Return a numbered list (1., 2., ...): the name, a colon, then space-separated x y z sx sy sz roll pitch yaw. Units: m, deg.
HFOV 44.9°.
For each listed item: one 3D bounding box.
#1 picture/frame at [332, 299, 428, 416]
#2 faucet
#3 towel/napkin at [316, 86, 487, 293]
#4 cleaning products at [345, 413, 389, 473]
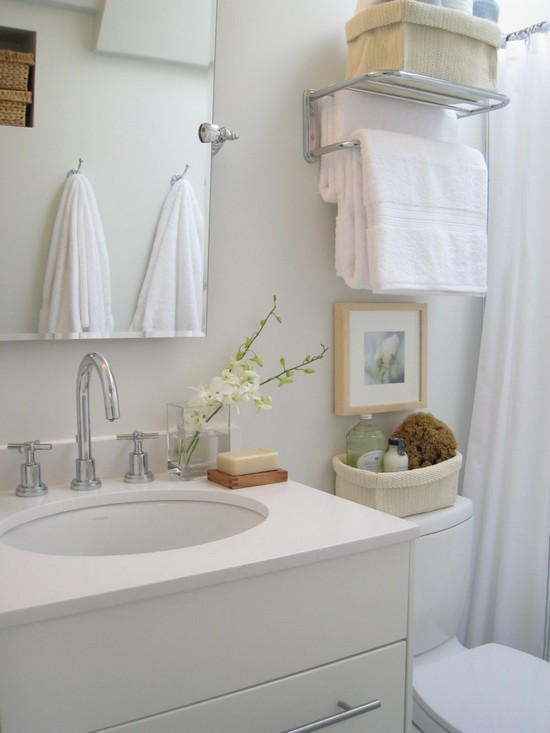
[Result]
1. picture/frame: 0.238 -0.022 1.575 0.263 0.262 0.026 -1 1 -36
2. faucet: -0.298 0.097 1.079 0.068 0.235 0.241 -2 6 -18
3. towel/napkin: 0.263 -0.370 1.409 0.418 0.462 0.236 -1 4 -32
4. cleaning products: 0.202 0.179 1.559 0.103 0.196 0.108 1 2 -10
